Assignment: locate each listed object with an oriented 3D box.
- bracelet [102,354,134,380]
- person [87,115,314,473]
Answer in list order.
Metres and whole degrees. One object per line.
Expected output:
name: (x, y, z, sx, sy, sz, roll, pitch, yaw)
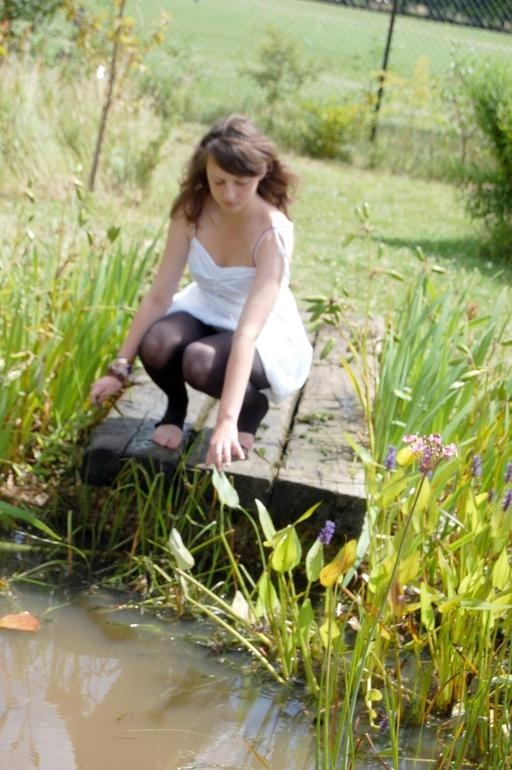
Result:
bracelet: (-0.351, -0.043, 1.805, 0.055, 0.066, 0.069, 15, -22, 4)
person: (-0.129, -0.190, 1.752, 0.589, 0.827, 0.704, 6, 32, -1)
